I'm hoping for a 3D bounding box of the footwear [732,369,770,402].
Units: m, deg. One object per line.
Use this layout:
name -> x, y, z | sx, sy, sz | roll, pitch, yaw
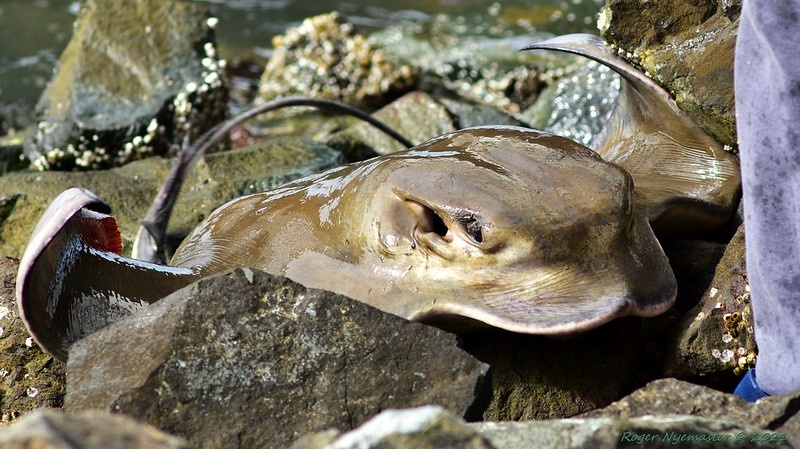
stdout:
footwear -> 2.440, 1.137, 10.760 | 0.204, 0.248, 0.224 | -32, -82, 22
